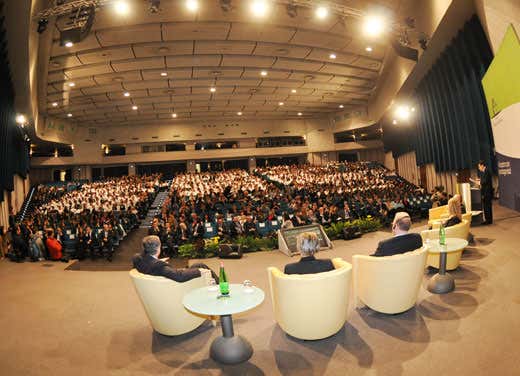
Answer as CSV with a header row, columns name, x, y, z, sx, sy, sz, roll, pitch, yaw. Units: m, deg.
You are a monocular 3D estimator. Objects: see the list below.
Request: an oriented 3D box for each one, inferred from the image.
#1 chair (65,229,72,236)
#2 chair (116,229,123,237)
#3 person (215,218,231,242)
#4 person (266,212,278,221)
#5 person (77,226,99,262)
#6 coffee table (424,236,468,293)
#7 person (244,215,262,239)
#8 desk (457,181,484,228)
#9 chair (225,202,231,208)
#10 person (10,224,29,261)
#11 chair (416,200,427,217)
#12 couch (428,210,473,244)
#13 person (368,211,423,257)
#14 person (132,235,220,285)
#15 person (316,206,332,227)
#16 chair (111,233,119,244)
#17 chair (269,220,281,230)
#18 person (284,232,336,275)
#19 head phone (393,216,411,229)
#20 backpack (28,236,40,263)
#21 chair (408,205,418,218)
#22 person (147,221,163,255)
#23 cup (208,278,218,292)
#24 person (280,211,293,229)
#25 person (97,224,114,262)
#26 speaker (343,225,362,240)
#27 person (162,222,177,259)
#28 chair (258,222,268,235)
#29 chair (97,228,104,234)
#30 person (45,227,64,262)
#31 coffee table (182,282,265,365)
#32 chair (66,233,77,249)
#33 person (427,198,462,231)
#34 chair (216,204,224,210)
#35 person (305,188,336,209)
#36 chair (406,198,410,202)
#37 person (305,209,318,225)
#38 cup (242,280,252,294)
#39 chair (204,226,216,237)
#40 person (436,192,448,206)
name,x,y,z,sx,sy,sz,roll,pitch,yaw
chair,-6.935,1.590,11.474,0.152,0.120,0.171,-4,0,7
chair,-5.363,1.697,12.093,0.285,0.274,0.226,-14,-4,38
person,-1.297,1.433,11.184,0.464,0.768,0.660,-6,11,-7
person,0.438,1.084,12.115,0.251,0.233,0.722,2,16,10
person,-6.057,1.828,11.082,0.709,1.201,0.690,13,14,24
coffee table,3.444,1.463,6.073,0.992,0.797,0.911,3,-7,-29
person,-0.323,1.410,11.566,0.609,0.700,0.756,-8,12,-17
desk,6.489,0.361,9.904,0.537,1.020,0.580,11,-12,-37
chair,-1.475,0.775,14.854,0.197,0.250,0.189,-10,-3,41
person,-8.565,1.913,11.238,0.559,1.187,0.612,5,4,27
chair,7.206,0.915,14.138,0.529,0.715,0.539,-14,-10,34
couch,4.747,1.040,7.870,0.946,0.911,0.861,2,2,35
person,2.485,0.769,5.602,1.039,0.768,0.530,-16,18,-18
person,-1.463,1.299,5.585,1.367,0.816,0.848,1,-4,-35
person,2.591,1.088,12.748,0.595,0.636,0.802,-3,11,9
chair,-5.267,1.819,11.471,0.345,0.423,0.298,-11,-11,36
chair,0.546,1.337,11.547,0.307,0.415,0.337,-2,-9,-14
person,0.994,1.369,6.678,1.063,1.020,0.542,-3,15,-8
head phone,2.450,0.602,5.464,0.176,0.249,0.246,14,-1,-13
backpack,-7.749,2.043,10.831,0.324,0.877,0.213,-4,11,0
chair,6.716,0.992,13.880,0.419,0.572,0.485,-4,-7,-7
person,-3.629,1.734,11.168,0.455,1.278,0.334,-9,22,-14
cup,-0.772,1.596,5.185,0.165,0.172,0.141,1,-8,-22
person,0.905,1.158,11.463,0.494,0.768,0.464,-1,1,30
person,-5.288,1.828,10.865,0.458,1.056,1.137,-10,12,-26
speaker,3.245,1.558,11.152,0.734,0.566,0.406,0,-19,-36
person,-3.138,1.660,10.919,0.431,0.762,1.389,7,19,-27
chair,0.118,1.436,11.557,0.337,0.505,0.403,-3,-7,-12
chair,-5.657,1.500,11.227,0.209,0.163,0.120,-4,17,17
person,-7.128,1.903,10.928,0.466,1.055,1.204,-12,13,-34
coffee table,-0.482,2.125,4.823,1.063,0.783,1.075,-5,0,3
chair,-6.750,1.888,11.322,0.328,0.500,0.343,-7,11,-10
person,4.307,0.636,7.468,0.668,0.818,0.667,-5,-13,-15
chair,-1.810,0.841,14.487,0.295,0.368,0.269,-6,2,32
person,3.233,0.424,16.195,0.977,0.509,1.323,-4,3,-12
chair,6.682,0.516,14.267,0.147,0.122,0.156,-2,3,19
person,1.994,1.118,12.290,0.351,0.298,0.801,-7,41,-20
cup,-0.198,1.577,5.065,0.201,0.210,0.193,-3,-9,0
chair,-1.781,1.550,11.214,0.401,0.422,0.304,-2,-8,-18
person,7.484,0.458,13.005,0.335,0.321,0.870,11,11,20
